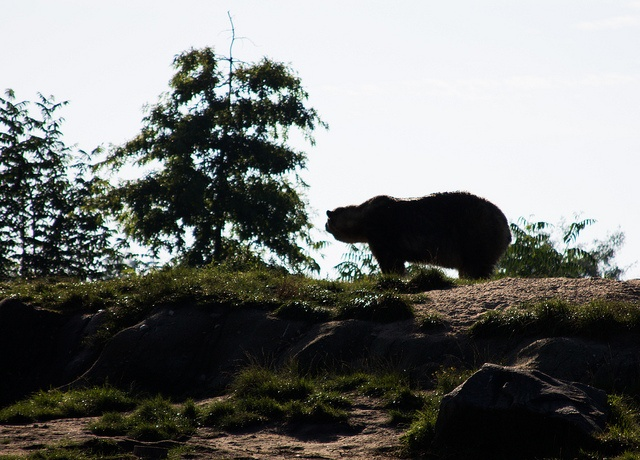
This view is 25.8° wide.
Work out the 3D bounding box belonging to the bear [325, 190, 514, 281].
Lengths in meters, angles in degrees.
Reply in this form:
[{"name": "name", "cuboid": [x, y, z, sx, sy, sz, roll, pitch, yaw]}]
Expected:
[{"name": "bear", "cuboid": [2.462, 0.354, 36.745, 4.763, 2.830, 1.599, 0, 0, 15]}]
